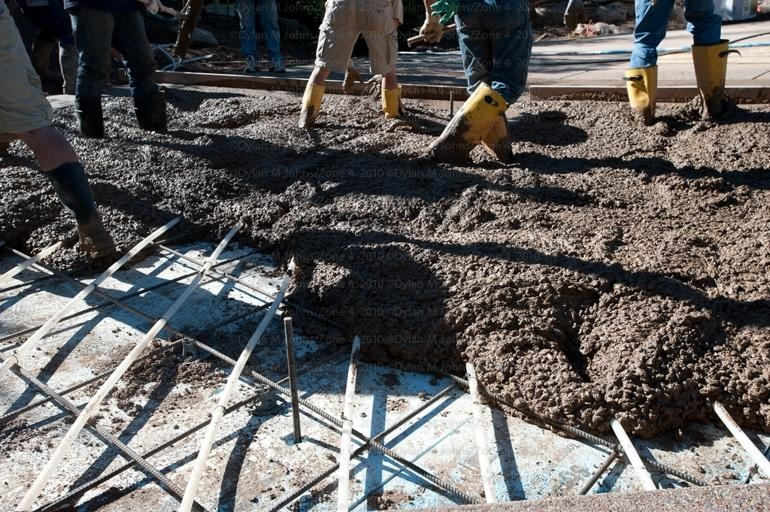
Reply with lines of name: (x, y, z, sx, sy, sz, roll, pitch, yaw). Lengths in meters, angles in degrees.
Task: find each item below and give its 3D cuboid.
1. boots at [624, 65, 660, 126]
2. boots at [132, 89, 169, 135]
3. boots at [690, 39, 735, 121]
boots: (2.128, -1.293, 4.826, 0.244, 0.464, 0.491, -5, -5, 31)
boots: (-2.064, -1.300, 5.143, 0.216, 0.425, 0.165, -2, 60, -10)
boots: (2.584, -1.390, 4.536, 0.297, 0.531, 0.362, -3, 29, -4)
